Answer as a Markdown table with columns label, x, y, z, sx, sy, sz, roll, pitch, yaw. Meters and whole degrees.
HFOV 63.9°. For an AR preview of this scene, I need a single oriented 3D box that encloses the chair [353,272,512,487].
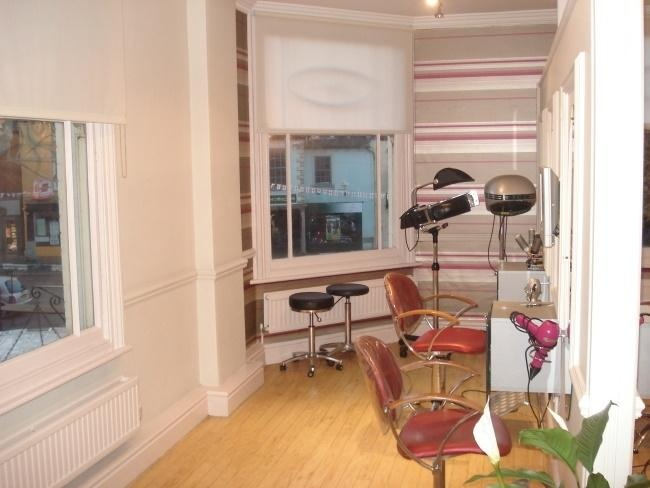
| label | x | y | z | sx | sy | sz | roll | pitch | yaw |
| --- | --- | --- | --- | --- | --- | --- | --- | --- | --- |
| chair | 0.721 | 0.989 | 3.534 | 0.814 | 1.145 | 1.894 | 1 | 10 | 12 |

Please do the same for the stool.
| label | x | y | z | sx | sy | sz | roll | pitch | yaw |
| --- | --- | --- | --- | --- | --- | --- | --- | --- | --- |
| stool | -0.064 | 0.874 | 5.303 | 0.837 | 0.657 | 0.487 | -11 | 20 | -43 |
